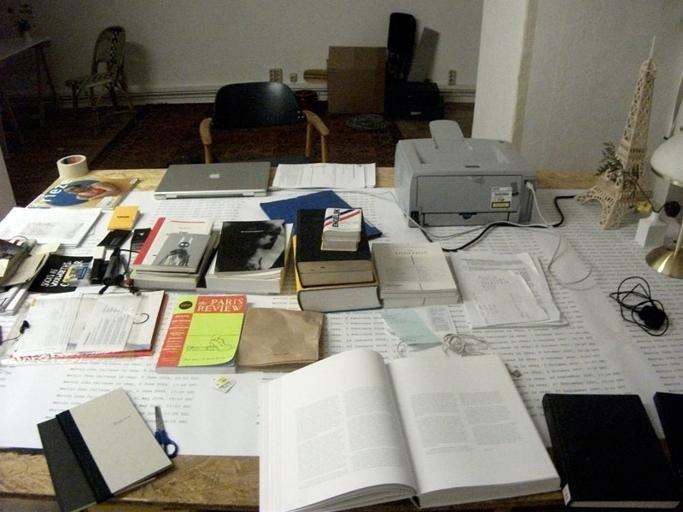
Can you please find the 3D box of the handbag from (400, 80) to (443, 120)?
[{"bbox_3d":[0.850,-1.547,5.116,0.489,0.221,0.479,9,33,29],"label":"handbag"}]

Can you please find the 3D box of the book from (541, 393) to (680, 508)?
[{"bbox_3d":[0.644,0.470,1.215,0.257,0.111,0.260,2,31,3],"label":"book"}]
